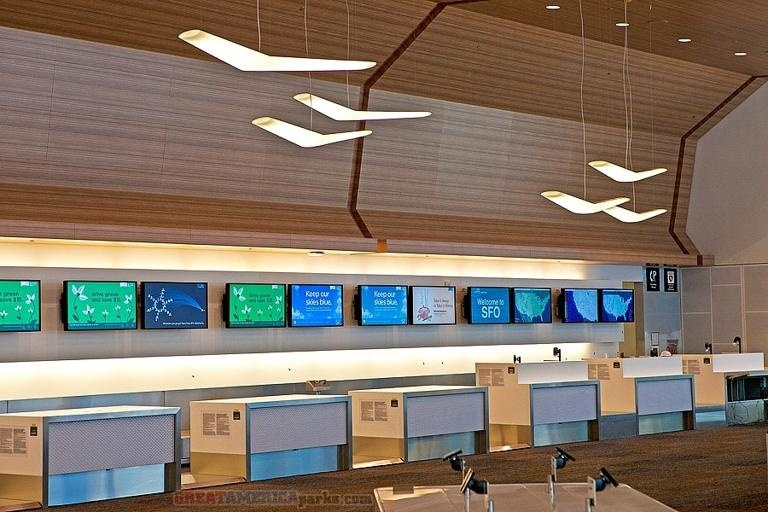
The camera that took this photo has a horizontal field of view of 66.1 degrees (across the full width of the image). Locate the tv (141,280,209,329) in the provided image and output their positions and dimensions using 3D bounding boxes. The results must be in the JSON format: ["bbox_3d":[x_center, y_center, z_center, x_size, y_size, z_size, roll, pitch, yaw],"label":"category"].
[{"bbox_3d":[-3.382,0.789,9.398,1.043,0.551,0.125,4,-8,-35],"label":"tv"}]

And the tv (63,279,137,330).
[{"bbox_3d":[-4.343,0.746,8.908,1.012,0.544,0.098,4,-9,-37],"label":"tv"}]

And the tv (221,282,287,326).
[{"bbox_3d":[-2.252,0.831,10.003,1.004,0.536,0.123,4,-9,-34],"label":"tv"}]
